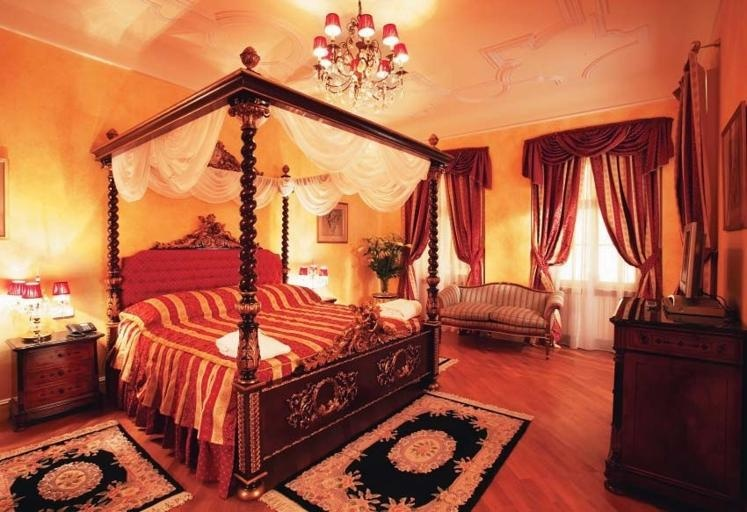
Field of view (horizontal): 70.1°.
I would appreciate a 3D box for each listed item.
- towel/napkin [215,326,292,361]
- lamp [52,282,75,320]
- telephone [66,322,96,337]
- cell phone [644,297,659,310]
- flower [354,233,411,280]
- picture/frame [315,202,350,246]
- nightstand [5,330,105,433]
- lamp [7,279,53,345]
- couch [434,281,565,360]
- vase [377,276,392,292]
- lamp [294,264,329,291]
[{"bbox_3d":[-1.279,0.909,5.604,0.806,0.294,0.492,-2,1,-9],"label":"towel/napkin"},{"bbox_3d":[-3.806,0.539,6.534,0.231,0.365,0.317,-3,2,-29],"label":"lamp"},{"bbox_3d":[-3.543,0.891,6.472,0.200,0.063,0.205,-8,26,-27],"label":"telephone"},{"bbox_3d":[2.992,0.510,5.709,0.110,0.152,0.136,0,-3,34],"label":"cell phone"},{"bbox_3d":[0.216,0.032,10.267,0.759,0.905,0.976,-2,-3,21],"label":"flower"},{"bbox_3d":[-0.723,-0.555,9.245,0.057,0.777,0.789,-2,-3,37],"label":"picture/frame"},{"bbox_3d":[-3.935,1.423,6.585,1.029,1.031,0.899,-1,2,-40],"label":"nightstand"},{"bbox_3d":[-4.040,0.625,6.305,0.527,0.729,0.425,1,1,42],"label":"lamp"},{"bbox_3d":[2.110,1.113,8.542,2.226,1.292,1.412,1,1,31],"label":"couch"},{"bbox_3d":[0.202,0.520,10.110,0.273,0.340,0.319,1,2,26],"label":"vase"},{"bbox_3d":[-1.035,0.343,8.885,0.391,0.501,0.481,0,-1,-17],"label":"lamp"}]
